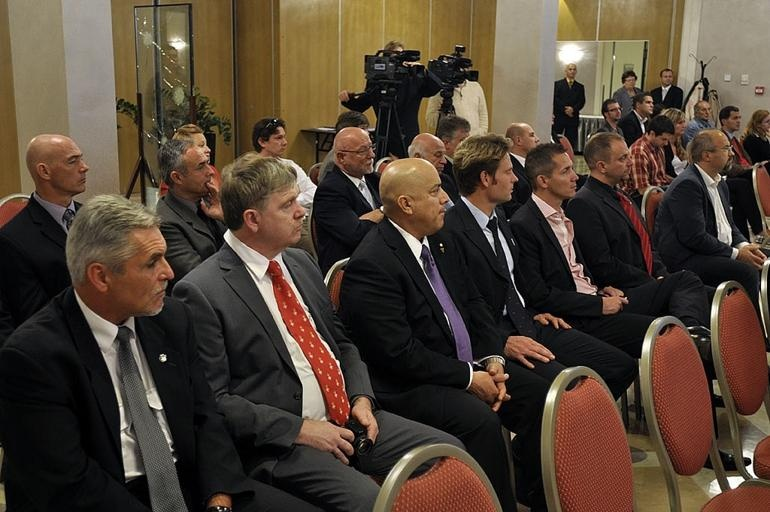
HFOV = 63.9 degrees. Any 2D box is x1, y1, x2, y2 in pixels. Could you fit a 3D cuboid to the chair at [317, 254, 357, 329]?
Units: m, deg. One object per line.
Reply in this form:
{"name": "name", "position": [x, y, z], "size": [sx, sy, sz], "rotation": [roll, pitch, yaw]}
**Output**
{"name": "chair", "position": [-0.238, 0.176, 3.304], "size": [0.227, 0.255, 0.231], "rotation": [-2, 0, -29]}

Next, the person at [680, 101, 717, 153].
{"name": "person", "position": [4.662, -1.856, 9.131], "size": [0.493, 0.795, 0.434], "rotation": [-8, 11, -20]}

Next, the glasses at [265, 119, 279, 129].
{"name": "glasses", "position": [-1.082, -1.274, 5.896], "size": [0.095, 0.036, 0.089], "rotation": [-22, 7, 10]}

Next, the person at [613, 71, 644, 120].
{"name": "person", "position": [4.192, -2.553, 10.654], "size": [0.448, 1.227, 0.375], "rotation": [-2, 9, 2]}

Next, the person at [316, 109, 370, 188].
{"name": "person", "position": [-0.308, -0.938, 5.908], "size": [0.415, 0.880, 0.611], "rotation": [-8, -8, 10]}

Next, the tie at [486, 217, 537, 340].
{"name": "tie", "position": [0.692, 0.166, 3.659], "size": [0.199, 0.840, 0.102], "rotation": [-13, -5, -31]}

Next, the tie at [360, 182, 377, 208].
{"name": "tie", "position": [-0.138, -0.489, 4.869], "size": [0.045, 0.222, 0.117], "rotation": [-13, 7, 25]}

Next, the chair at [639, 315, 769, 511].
{"name": "chair", "position": [1.294, 0.662, 2.657], "size": [0.515, 0.789, 0.279], "rotation": [-3, 9, -23]}

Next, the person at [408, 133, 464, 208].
{"name": "person", "position": [0.343, -0.580, 4.138], "size": [0.340, 0.563, 0.757], "rotation": [-3, 17, 15]}
